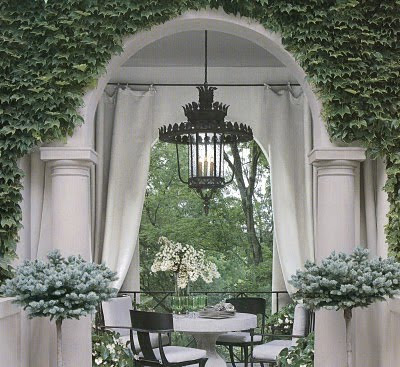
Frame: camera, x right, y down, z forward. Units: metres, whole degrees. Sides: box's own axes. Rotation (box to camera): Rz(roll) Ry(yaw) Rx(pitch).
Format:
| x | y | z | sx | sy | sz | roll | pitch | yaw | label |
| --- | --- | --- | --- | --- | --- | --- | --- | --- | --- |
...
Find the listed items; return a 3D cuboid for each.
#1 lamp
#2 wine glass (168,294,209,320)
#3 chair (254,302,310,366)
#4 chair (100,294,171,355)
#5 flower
| x | y | z | sx | sy | sz | roll | pitch | yaw | label |
| --- | --- | --- | --- | --- | --- | --- | --- | --- | --- |
| 0.052 | -0.542 | 9.383 | 0.869 | 1.632 | 0.884 | -1 | -5 | 7 | lamp |
| -0.131 | 1.102 | 9.398 | 0.271 | 0.150 | 0.202 | 1 | -9 | -5 | wine glass |
| 0.705 | 1.347 | 9.226 | 0.458 | 0.525 | 0.769 | 0 | -9 | -5 | chair |
| -0.608 | 1.403 | 9.546 | 0.484 | 0.683 | 0.585 | -8 | 3 | -32 | chair |
| -0.138 | 0.721 | 9.433 | 0.625 | 0.510 | 0.507 | 0 | -9 | -3 | flower |
